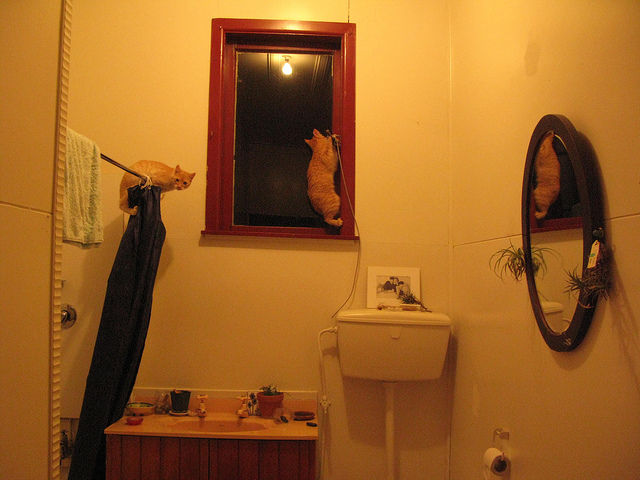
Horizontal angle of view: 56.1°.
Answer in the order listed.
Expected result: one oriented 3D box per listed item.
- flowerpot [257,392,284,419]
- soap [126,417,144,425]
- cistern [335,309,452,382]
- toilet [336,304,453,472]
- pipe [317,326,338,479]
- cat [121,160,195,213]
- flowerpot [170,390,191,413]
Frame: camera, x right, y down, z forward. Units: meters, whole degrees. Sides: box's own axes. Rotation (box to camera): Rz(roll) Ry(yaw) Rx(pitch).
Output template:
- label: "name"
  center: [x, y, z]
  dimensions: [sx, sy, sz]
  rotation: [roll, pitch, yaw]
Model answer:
- label: "flowerpot"
  center: [-0.248, 0.829, 3.007]
  dimensions: [0.100, 0.100, 0.111]
  rotation: [-5, -17, 24]
- label: "soap"
  center: [-0.896, 0.869, 2.882]
  dimensions: [0.079, 0.024, 0.047]
  rotation: [2, -7, -4]
- label: "cistern"
  center: [0.371, 0.477, 3.135]
  dimensions: [0.576, 0.385, 0.410]
  rotation: [0, 18, 4]
- label: "toilet"
  center: [0.368, 0.861, 3.474]
  dimensions: [0.673, 1.375, 0.679]
  rotation: [1, -12, 6]
- label: "pipe"
  center: [0.033, 0.845, 3.078]
  dimensions: [0.092, 0.785, 0.177]
  rotation: [1, -5, -4]
- label: "cat"
  center: [-0.872, -0.275, 3.068]
  dimensions: [0.396, 0.273, 0.125]
  rotation: [6, -1, 11]
- label: "flowerpot"
  center: [-0.702, 0.814, 3.026]
  dimensions: [0.076, 0.099, 0.088]
  rotation: [2, -16, 2]
